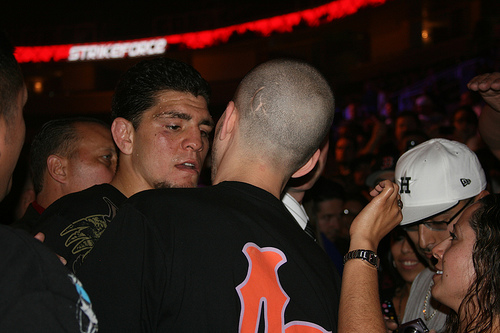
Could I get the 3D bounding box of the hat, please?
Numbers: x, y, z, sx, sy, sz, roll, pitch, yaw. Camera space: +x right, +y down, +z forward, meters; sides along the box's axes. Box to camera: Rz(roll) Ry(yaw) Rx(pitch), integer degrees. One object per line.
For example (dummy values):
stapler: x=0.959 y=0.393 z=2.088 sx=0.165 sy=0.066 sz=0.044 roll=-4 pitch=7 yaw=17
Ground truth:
hat: x=1.679 y=0.095 z=5.037 sx=0.961 sy=0.463 sz=0.679 roll=-26 pitch=11 yaw=-20

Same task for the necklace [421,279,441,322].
necklace: x=1.692 y=1.251 z=5.133 sx=0.077 sy=0.393 sz=0.257 roll=25 pitch=-21 yaw=-35
